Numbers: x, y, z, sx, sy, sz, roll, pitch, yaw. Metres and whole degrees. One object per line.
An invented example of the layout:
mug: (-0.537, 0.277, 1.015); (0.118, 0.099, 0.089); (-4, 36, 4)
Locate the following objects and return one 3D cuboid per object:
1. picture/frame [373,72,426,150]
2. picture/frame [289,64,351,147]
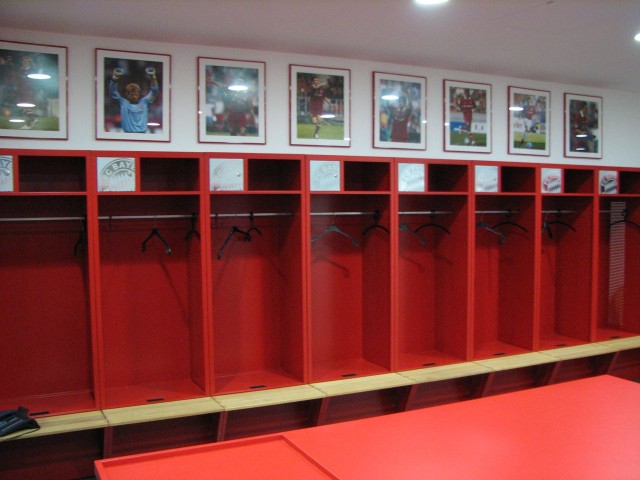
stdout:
picture/frame: (0.913, -1.516, 6.080); (0.932, 1.092, 0.073); (-3, 5, -21)
picture/frame: (-0.011, -1.493, 5.746); (0.976, 1.087, 0.046); (-1, 5, -21)
